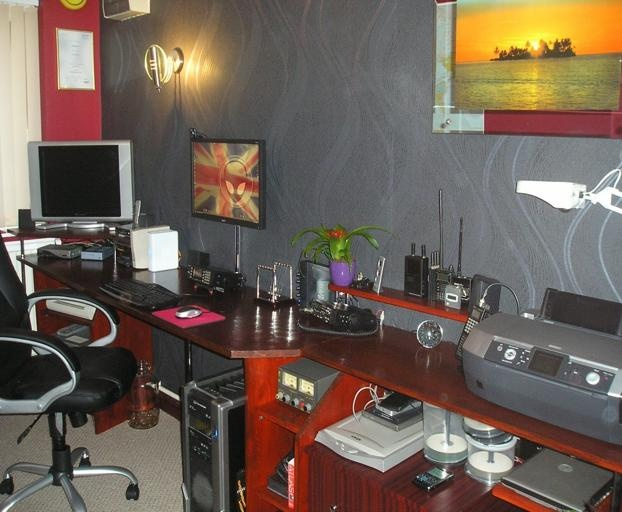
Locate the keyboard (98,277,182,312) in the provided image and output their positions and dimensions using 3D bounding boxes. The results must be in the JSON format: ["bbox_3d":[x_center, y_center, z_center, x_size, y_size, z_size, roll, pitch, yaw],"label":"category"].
[{"bbox_3d":[-0.902,0.190,2.766,0.363,0.056,0.192,15,21,42],"label":"keyboard"}]

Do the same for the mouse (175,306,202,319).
[{"bbox_3d":[-0.574,0.259,2.494,0.078,0.028,0.058,-8,14,-40],"label":"mouse"}]

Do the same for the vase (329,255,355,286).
[{"bbox_3d":[0.147,0.073,2.558,0.111,0.107,0.109,-1,5,-8],"label":"vase"}]

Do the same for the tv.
[{"bbox_3d":[-1.625,-0.496,3.809,0.735,0.626,0.210,1,7,3],"label":"tv"}]

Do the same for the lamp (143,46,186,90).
[{"bbox_3d":[-0.944,-1.219,3.446,0.327,0.279,0.089,13,17,42],"label":"lamp"}]
